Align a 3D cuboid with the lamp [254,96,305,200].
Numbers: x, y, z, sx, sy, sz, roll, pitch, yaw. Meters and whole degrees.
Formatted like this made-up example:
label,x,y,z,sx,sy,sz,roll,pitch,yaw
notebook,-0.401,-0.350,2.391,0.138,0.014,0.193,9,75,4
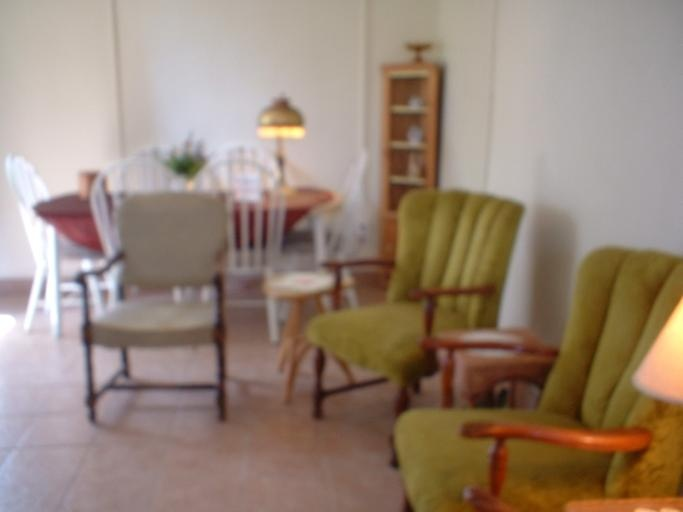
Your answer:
label,x,y,z,sx,sy,sz,roll,pitch,yaw
lamp,-0.224,-0.415,2.119,0.119,0.327,0.149,14,20,35
